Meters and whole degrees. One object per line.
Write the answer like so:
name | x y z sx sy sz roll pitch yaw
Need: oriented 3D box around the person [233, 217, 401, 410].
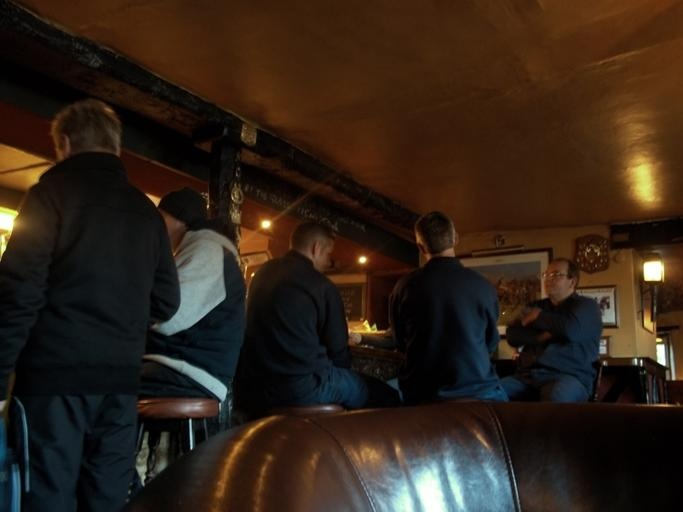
person | -0.203 0.517 3.673 1.060 1.244 0.995 14 -22 -27

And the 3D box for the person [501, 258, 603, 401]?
person | 1.479 0.509 4.002 0.629 1.028 0.667 -9 -13 35

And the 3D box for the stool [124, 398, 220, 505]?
stool | -0.774 0.824 2.536 0.345 0.374 0.339 -6 -8 38

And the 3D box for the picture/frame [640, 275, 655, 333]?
picture/frame | 4.147 0.646 7.572 0.053 1.205 0.807 -8 -2 30

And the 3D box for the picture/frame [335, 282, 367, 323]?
picture/frame | 0.109 0.689 8.384 0.566 0.596 0.024 -6 -2 24

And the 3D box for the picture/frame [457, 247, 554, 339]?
picture/frame | 2.156 0.455 7.477 1.182 1.025 0.059 -5 -21 9
